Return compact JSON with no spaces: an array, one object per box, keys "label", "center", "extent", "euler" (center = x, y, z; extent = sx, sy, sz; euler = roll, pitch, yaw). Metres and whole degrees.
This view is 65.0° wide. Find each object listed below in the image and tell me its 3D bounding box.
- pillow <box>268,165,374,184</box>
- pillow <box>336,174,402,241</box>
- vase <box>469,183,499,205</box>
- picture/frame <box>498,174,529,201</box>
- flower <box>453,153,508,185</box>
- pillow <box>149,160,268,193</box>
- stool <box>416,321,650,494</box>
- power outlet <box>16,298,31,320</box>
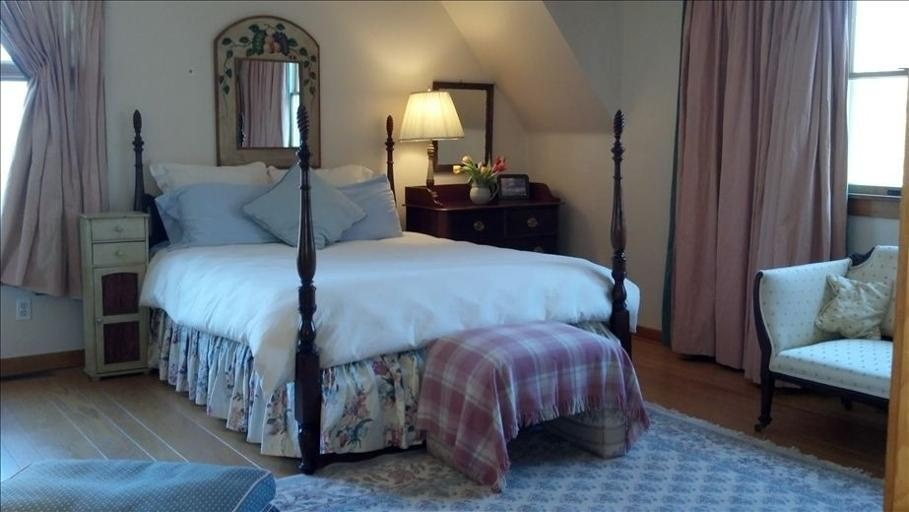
[{"label":"pillow","center":[-1.007,-0.700,6.188],"extent":[0.460,0.126,0.383],"euler":[0,1,-22]},{"label":"pillow","center":[-0.717,-0.392,5.965],"extent":[0.563,0.495,0.166],"euler":[-5,-6,-41]},{"label":"vase","center":[0.277,-0.581,6.744],"extent":[0.267,0.176,0.163],"euler":[1,0,-36]},{"label":"picture/frame","center":[0.557,-0.655,6.903],"extent":[0.283,0.193,0.038],"euler":[0,-1,-19]},{"label":"flower","center":[0.303,-0.795,6.805],"extent":[0.382,0.203,0.399],"euler":[2,5,37]},{"label":"pillow","center":[-1.987,-0.655,5.772],"extent":[0.492,0.140,0.405],"euler":[-5,47,-41]},{"label":"stool","center":[0.444,0.892,4.706],"extent":[1.351,0.652,1.056],"euler":[-3,4,-33]},{"label":"power outlet","center":[-3.323,0.412,5.497],"extent":[0.104,0.156,0.025],"euler":[-10,14,-35]}]
